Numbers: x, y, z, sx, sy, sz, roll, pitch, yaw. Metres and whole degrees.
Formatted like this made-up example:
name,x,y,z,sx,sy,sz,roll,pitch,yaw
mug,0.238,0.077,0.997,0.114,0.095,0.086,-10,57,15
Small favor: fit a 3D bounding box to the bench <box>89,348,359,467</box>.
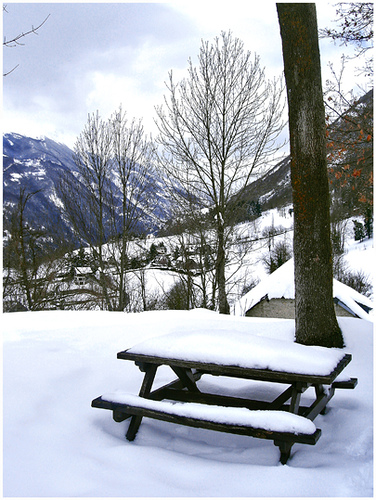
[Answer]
name,x,y,z,sx,sy,sz,roll,pitch,yaw
bench,0.441,1.235,5.332,1.977,0.777,1.981,4,9,26
